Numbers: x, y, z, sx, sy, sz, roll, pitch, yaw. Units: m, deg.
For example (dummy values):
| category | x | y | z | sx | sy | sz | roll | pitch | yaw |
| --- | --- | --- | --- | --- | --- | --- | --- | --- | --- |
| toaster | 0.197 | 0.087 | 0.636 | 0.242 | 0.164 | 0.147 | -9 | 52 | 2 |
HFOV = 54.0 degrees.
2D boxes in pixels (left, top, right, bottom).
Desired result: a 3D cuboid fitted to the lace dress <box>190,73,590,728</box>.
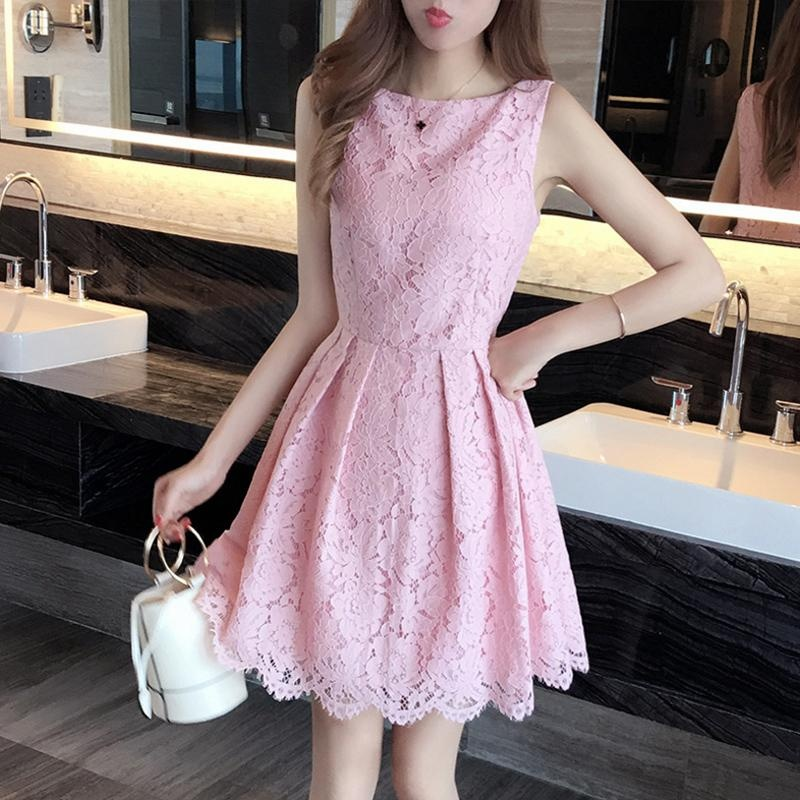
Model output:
| category | x | y | z | sx | sy | sz | roll | pitch | yaw |
| --- | --- | --- | --- | --- | --- | --- | --- | --- | --- |
| lace dress | 0.003 | -0.009 | 0.862 | 0.430 | 0.674 | 0.323 | 6 | 20 | 12 |
